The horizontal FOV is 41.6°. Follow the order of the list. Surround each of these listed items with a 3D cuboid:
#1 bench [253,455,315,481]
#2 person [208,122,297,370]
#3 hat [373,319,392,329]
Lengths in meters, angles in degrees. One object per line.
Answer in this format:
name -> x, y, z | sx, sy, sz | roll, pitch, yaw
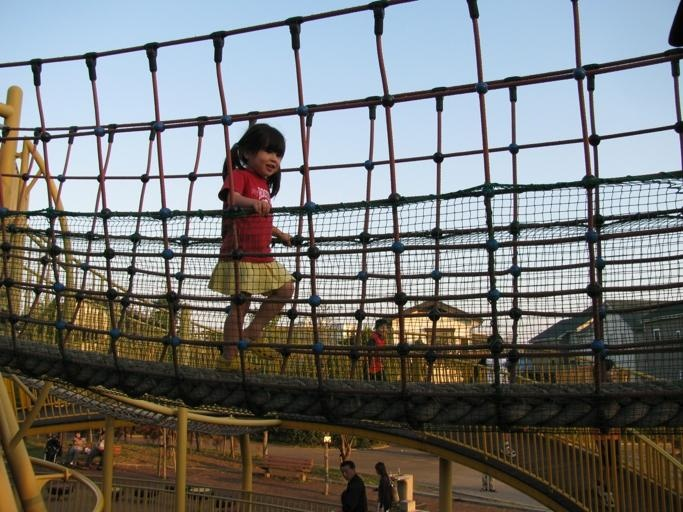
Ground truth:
bench -> -1.628, 5.914, 24.945 | 1.444, 0.772, 2.218 | 5, -18, -13
person -> -0.899, -0.176, 9.059 | 0.838, 2.521, 1.065 | 2, -16, -3
hat -> 0.390, 0.658, 8.651 | 0.095, 0.127, 0.118 | -2, 9, -15
